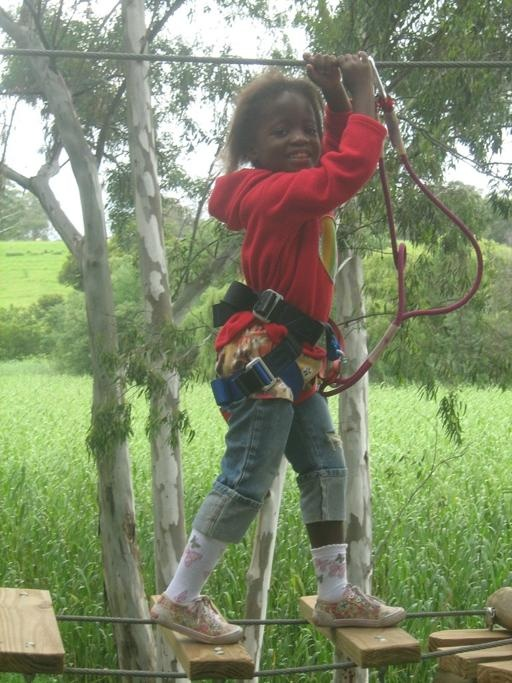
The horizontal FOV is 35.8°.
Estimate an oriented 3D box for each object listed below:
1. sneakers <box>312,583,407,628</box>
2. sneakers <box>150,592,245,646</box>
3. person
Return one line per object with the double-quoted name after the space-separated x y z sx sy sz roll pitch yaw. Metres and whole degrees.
0.303 0.830 2.490 0.317 0.140 0.113 0 -2 0 "sneakers"
-0.168 0.807 2.366 0.292 0.131 0.114 21 -2 -3 "sneakers"
0.094 -0.039 2.587 0.752 1.873 0.522 3 -2 -7 "person"
